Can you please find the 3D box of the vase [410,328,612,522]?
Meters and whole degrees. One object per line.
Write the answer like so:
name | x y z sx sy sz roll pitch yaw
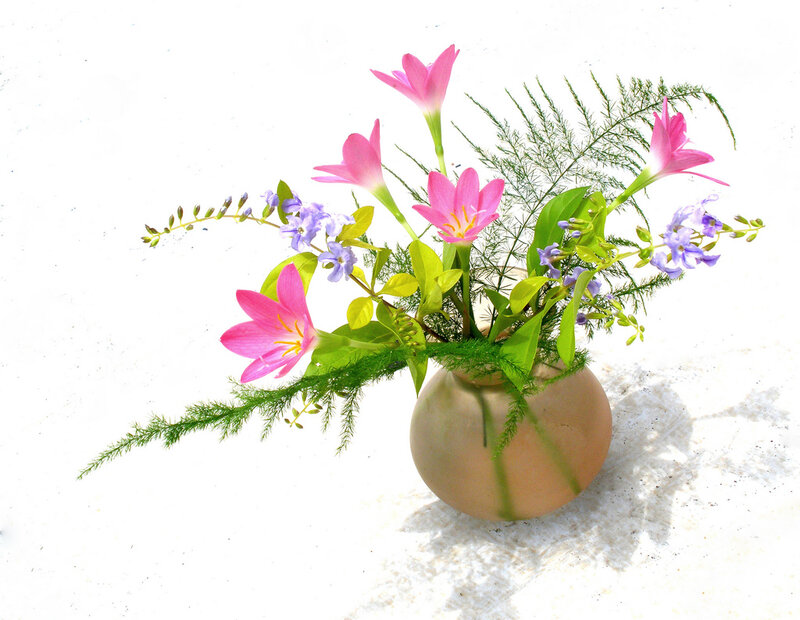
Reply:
vase | 0.264 0.279 1.751 0.365 0.391 0.396 -20 35 3

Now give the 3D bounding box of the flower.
flower | 0.063 -0.091 1.553 1.101 0.867 0.751 -20 11 -21
